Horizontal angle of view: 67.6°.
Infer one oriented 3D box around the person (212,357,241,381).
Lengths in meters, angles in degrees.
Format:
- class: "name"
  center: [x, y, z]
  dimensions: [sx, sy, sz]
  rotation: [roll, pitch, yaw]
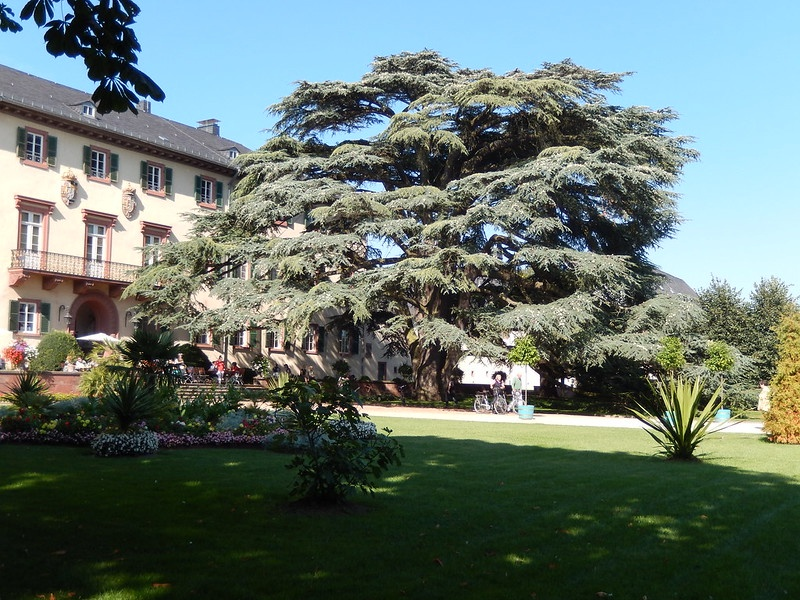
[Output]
- class: "person"
  center: [-9.928, 4.201, 34.413]
  dimensions: [1.247, 0.454, 1.877]
  rotation: [-1, 6, -18]
